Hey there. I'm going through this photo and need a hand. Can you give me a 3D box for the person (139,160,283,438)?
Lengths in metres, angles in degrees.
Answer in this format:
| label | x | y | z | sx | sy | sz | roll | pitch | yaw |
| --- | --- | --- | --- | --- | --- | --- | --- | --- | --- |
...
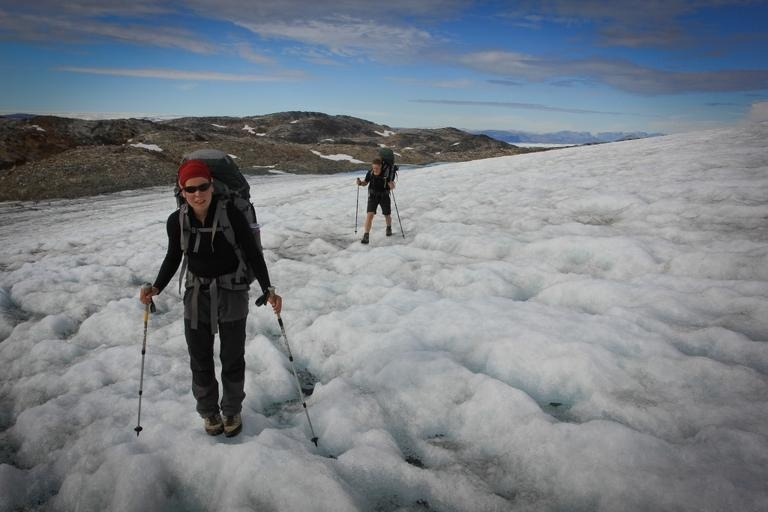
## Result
| label | x | y | z | sx | sy | sz | roll | pitch | yaw |
| --- | --- | --- | --- | --- | --- | --- | --- | --- | --- |
| person | -2.218 | 0.623 | 5.667 | 1.034 | 3.687 | 1.137 | -3 | 21 | -18 |
